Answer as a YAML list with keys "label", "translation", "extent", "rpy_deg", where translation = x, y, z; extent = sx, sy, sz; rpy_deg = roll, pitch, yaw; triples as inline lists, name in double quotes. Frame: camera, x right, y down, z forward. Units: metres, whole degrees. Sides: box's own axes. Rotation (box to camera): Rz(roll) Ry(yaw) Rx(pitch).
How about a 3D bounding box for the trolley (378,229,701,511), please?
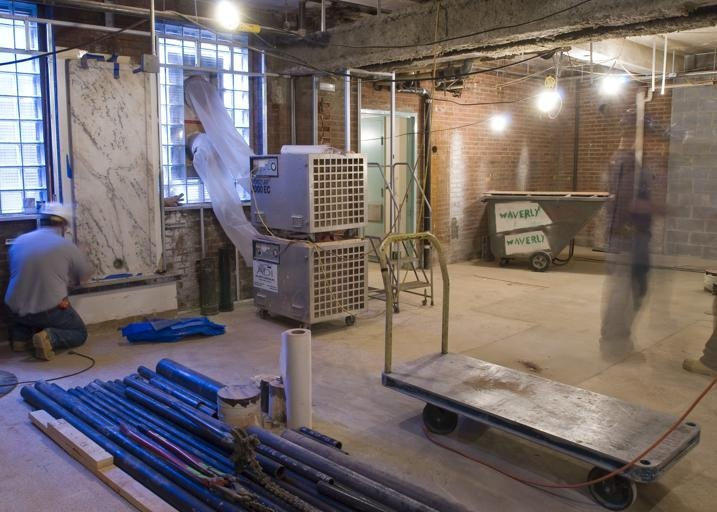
- label: "trolley"
  translation: [1.496, 0.894, 5.586]
  extent: [1.549, 2.167, 3.321]
  rpy_deg: [-9, 11, -38]

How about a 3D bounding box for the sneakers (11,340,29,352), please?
- label: "sneakers"
  translation: [-3.981, 1.052, 6.646]
  extent: [0.198, 0.133, 0.097]
  rpy_deg: [-1, 0, 9]

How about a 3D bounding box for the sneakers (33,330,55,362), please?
- label: "sneakers"
  translation: [-3.598, 1.014, 6.468]
  extent: [0.198, 0.317, 0.196]
  rpy_deg: [-8, 15, -30]

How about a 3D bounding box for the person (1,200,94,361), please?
- label: "person"
  translation: [-3.675, 0.256, 6.708]
  extent: [0.679, 1.681, 0.789]
  rpy_deg: [7, 15, 27]

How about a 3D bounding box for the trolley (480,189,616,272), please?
- label: "trolley"
  translation: [3.636, -0.571, 11.045]
  extent: [2.285, 1.507, 1.414]
  rpy_deg: [1, 16, 20]
